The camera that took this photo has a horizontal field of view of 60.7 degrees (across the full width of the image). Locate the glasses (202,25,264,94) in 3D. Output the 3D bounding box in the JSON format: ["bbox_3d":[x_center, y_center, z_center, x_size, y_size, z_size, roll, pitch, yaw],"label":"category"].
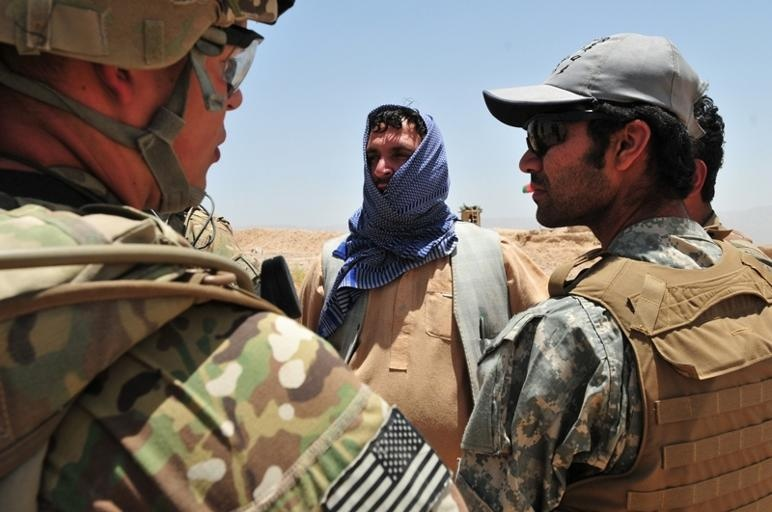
[{"bbox_3d":[-0.557,-0.680,2.217,0.212,0.174,0.200,21,-7,-15],"label":"glasses"}]

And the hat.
[{"bbox_3d":[0.972,-0.764,2.991,0.936,0.477,0.633,12,3,19],"label":"hat"}]
